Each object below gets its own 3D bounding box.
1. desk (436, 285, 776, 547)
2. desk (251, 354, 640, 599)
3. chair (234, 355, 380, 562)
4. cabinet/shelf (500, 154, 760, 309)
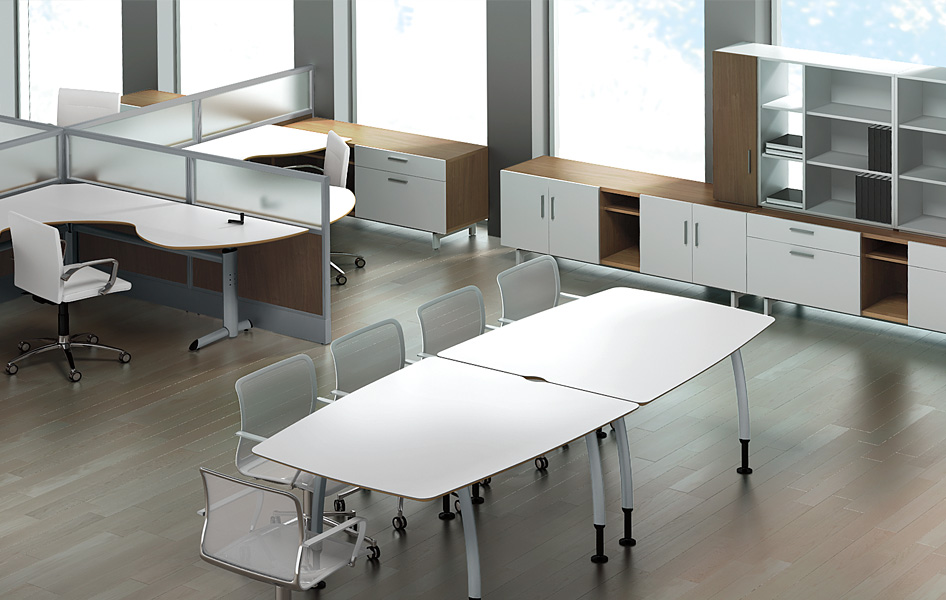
[{"bbox_3d":[0.779,0.404,5.303,1.678,0.944,2.018,14,24,41],"label":"desk"},{"bbox_3d":[-0.151,0.662,4.250,1.362,0.757,1.750,12,22,36],"label":"desk"},{"bbox_3d":[-0.918,0.895,4.640,0.839,0.966,0.768,-8,25,-43],"label":"chair"},{"bbox_3d":[1.522,-0.695,8.105,2.601,0.918,0.822,15,27,39],"label":"cabinet/shelf"}]
